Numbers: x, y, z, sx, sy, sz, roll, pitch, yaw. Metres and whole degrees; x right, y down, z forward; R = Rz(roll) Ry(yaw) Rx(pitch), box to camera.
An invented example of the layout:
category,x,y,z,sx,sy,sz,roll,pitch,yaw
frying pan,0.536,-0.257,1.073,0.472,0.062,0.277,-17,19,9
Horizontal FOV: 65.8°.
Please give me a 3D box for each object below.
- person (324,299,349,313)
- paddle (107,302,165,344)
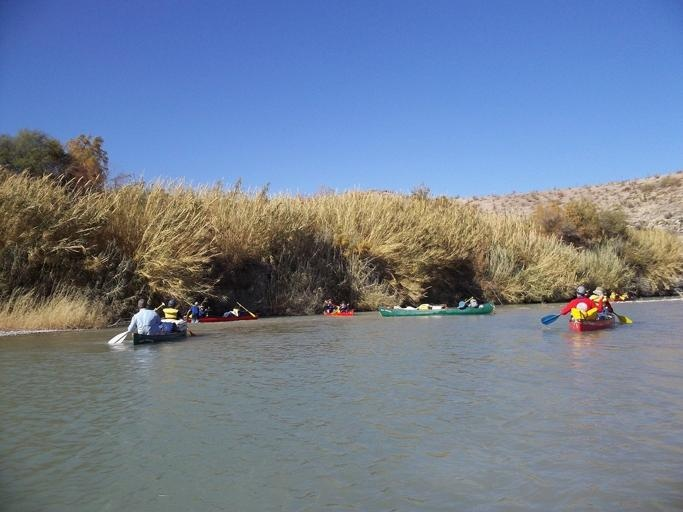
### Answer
category,x,y,z,sx,sy,sz,roll,pitch,yaw
person,-0.304,2.623,26.854,1.344,0.750,0.583,2,-25,11
paddle,-6.660,2.256,17.588,0.843,0.926,2.267,-11,15,8
